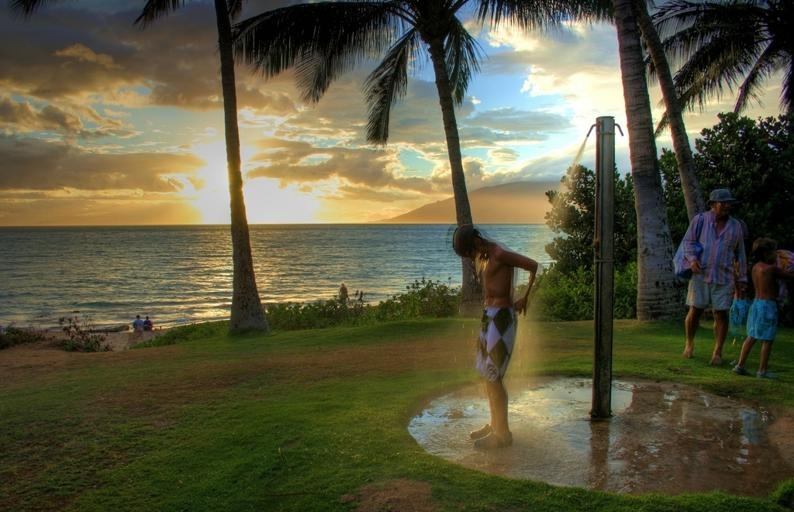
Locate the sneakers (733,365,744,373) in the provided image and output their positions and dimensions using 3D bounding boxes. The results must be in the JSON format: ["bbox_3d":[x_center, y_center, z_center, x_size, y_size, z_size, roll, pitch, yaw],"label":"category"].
[{"bbox_3d":[6.370,2.124,10.873,0.207,0.097,0.074,14,-11,-34],"label":"sneakers"}]

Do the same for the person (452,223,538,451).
[{"bbox_3d":[1.561,1.191,9.198,1.102,3.328,1.122,-7,13,-21],"label":"person"}]

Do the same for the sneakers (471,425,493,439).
[{"bbox_3d":[1.342,2.782,9.209,0.303,0.123,0.196,-5,-6,4],"label":"sneakers"}]

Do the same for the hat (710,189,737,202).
[{"bbox_3d":[6.307,-1.183,11.262,0.415,0.225,0.312,-6,8,-7],"label":"hat"}]
